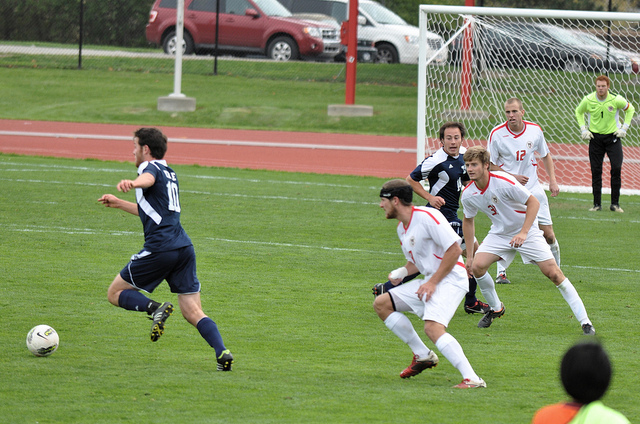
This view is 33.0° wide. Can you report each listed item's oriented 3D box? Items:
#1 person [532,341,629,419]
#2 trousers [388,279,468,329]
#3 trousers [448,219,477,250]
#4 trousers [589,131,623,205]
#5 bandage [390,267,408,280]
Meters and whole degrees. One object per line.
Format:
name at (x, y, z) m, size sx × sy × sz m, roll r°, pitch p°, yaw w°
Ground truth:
person at (3.579, 2.297, 15.209) m, size 1.510 × 1.251 × 0.983 m, roll 2°, pitch 9°, yaw -6°
trousers at (1.509, 1.434, 17.899) m, size 0.819 × 0.439 × 1.235 m, roll 5°, pitch 3°, yaw 0°
trousers at (2.532, 0.423, 19.468) m, size 0.446 × 0.579 × 0.812 m, roll 3°, pitch 8°, yaw 13°
trousers at (6.392, -0.980, 24.322) m, size 0.720 × 1.620 × 0.428 m, roll 3°, pitch 8°, yaw 12°
bandage at (1.283, 0.974, 17.564) m, size 0.226 × 0.093 × 0.147 m, roll -21°, pitch 35°, yaw -31°
